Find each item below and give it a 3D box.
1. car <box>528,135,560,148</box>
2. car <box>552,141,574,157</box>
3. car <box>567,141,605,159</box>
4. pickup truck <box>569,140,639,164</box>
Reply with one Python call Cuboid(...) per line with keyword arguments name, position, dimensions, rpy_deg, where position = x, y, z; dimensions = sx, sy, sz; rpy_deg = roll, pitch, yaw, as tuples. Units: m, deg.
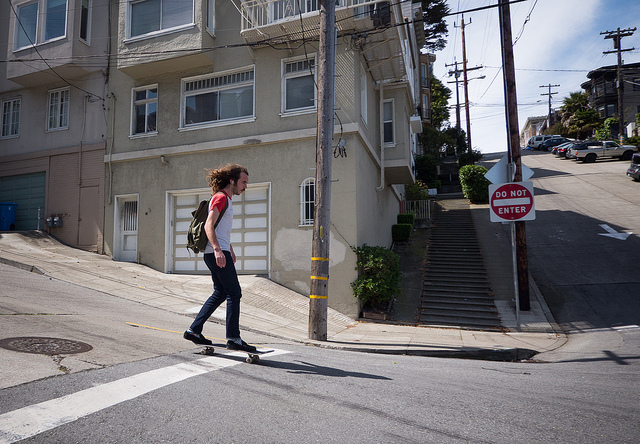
Cuboid(name="car", position=(24.139, -8.320, 57.421), dimensions=(2.980, 1.248, 1.507), rpy_deg=(-14, 7, 15))
Cuboid(name="car", position=(21.225, -6.163, 45.785), dimensions=(2.414, 0.846, 1.073), rpy_deg=(-25, 15, -32))
Cuboid(name="car", position=(20.614, -5.510, 41.059), dimensions=(1.705, 0.808, 1.002), rpy_deg=(-5, 3, 9))
Cuboid(name="pickup truck", position=(21.297, -5.201, 40.131), dimensions=(4.435, 1.679, 1.867), rpy_deg=(9, 10, 33))
